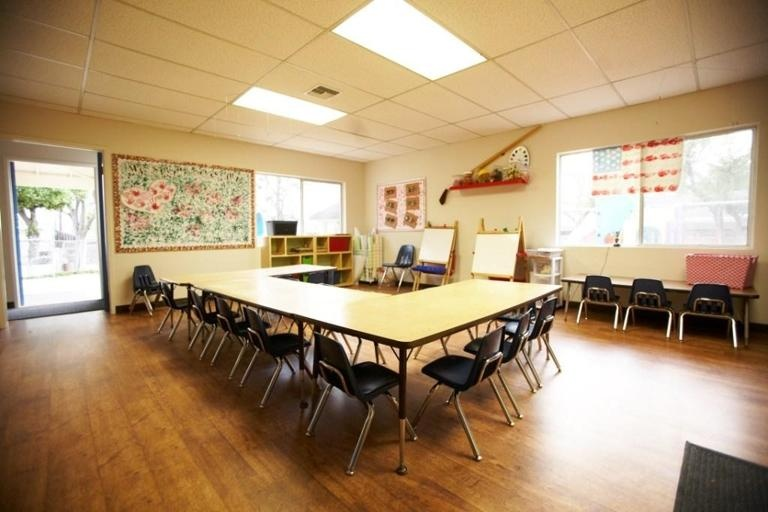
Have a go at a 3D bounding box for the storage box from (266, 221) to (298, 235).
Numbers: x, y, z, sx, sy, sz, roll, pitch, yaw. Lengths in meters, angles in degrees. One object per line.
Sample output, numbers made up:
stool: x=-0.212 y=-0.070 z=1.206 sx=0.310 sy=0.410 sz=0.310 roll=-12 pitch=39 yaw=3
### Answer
storage box: x=-2.029 y=-0.562 z=9.426 sx=0.473 sy=0.235 sz=0.312 roll=-3 pitch=7 yaw=-31

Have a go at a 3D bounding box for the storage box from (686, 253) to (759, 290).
storage box: x=4.720 y=0.183 z=6.618 sx=0.520 sy=0.428 sz=0.749 roll=-1 pitch=3 yaw=-38

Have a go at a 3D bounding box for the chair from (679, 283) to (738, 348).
chair: x=4.469 y=0.773 z=6.492 sx=0.696 sy=0.825 sz=0.776 roll=2 pitch=2 yaw=33

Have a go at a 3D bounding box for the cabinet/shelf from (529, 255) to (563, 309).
cabinet/shelf: x=2.808 y=0.272 z=8.037 sx=0.563 sy=0.999 sz=0.553 roll=-2 pitch=3 yaw=-44
